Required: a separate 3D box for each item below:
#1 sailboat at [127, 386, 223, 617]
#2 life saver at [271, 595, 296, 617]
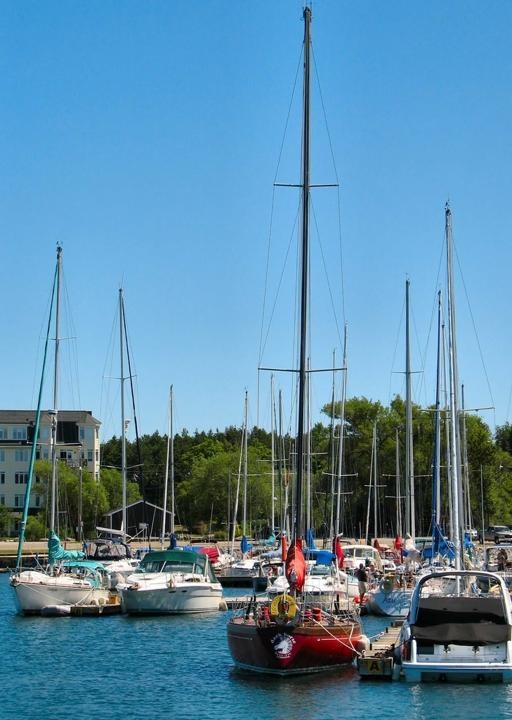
[{"bbox_3d":[-3.289,8.628,36.537,3.717,2.521,2.423,4,-11,-13],"label":"sailboat"},{"bbox_3d":[0.631,5.532,21.147,0.581,0.521,0.327,1,-10,0],"label":"life saver"}]
